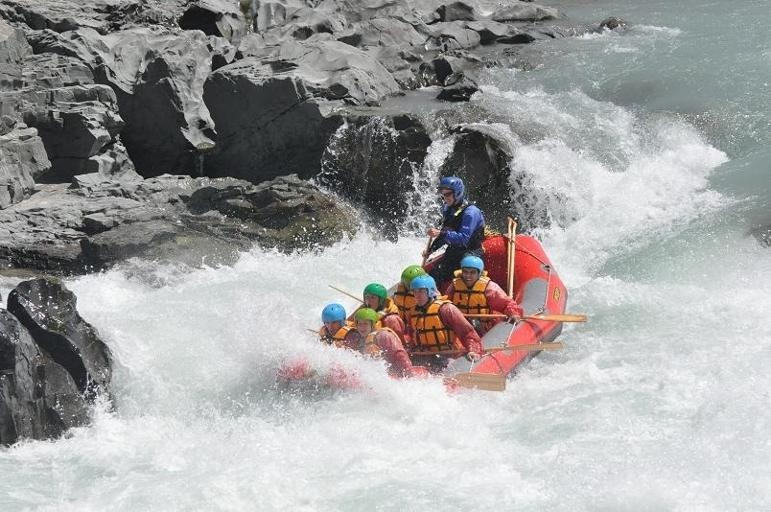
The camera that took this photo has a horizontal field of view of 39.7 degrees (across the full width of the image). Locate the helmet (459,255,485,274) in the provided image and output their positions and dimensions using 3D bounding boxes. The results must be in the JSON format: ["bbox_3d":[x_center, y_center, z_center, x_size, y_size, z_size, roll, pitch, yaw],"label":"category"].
[{"bbox_3d":[1.442,0.128,17.695,0.273,0.338,0.255,1,53,21],"label":"helmet"}]

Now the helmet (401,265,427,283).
[{"bbox_3d":[0.438,0.331,17.619,0.347,0.268,0.265,-47,25,24],"label":"helmet"}]

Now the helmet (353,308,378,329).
[{"bbox_3d":[-0.298,0.979,17.082,0.296,0.367,0.267,8,106,25],"label":"helmet"}]

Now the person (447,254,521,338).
[{"bbox_3d":[1.642,0.709,17.702,1.266,0.498,1.487,-8,108,9],"label":"person"}]

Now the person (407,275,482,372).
[{"bbox_3d":[0.952,1.143,17.206,1.111,0.738,1.381,-46,51,50],"label":"person"}]

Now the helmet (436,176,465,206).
[{"bbox_3d":[1.086,-1.151,18.531,0.420,0.538,0.517,5,91,57],"label":"helmet"}]

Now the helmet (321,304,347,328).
[{"bbox_3d":[-0.838,0.955,17.213,0.317,0.369,0.283,6,107,17],"label":"helmet"}]

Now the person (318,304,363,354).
[{"bbox_3d":[-0.712,1.156,17.293,0.579,0.708,0.770,-10,89,3],"label":"person"}]

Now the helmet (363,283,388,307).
[{"bbox_3d":[-0.128,0.638,17.599,0.335,0.399,0.339,-1,82,44],"label":"helmet"}]
